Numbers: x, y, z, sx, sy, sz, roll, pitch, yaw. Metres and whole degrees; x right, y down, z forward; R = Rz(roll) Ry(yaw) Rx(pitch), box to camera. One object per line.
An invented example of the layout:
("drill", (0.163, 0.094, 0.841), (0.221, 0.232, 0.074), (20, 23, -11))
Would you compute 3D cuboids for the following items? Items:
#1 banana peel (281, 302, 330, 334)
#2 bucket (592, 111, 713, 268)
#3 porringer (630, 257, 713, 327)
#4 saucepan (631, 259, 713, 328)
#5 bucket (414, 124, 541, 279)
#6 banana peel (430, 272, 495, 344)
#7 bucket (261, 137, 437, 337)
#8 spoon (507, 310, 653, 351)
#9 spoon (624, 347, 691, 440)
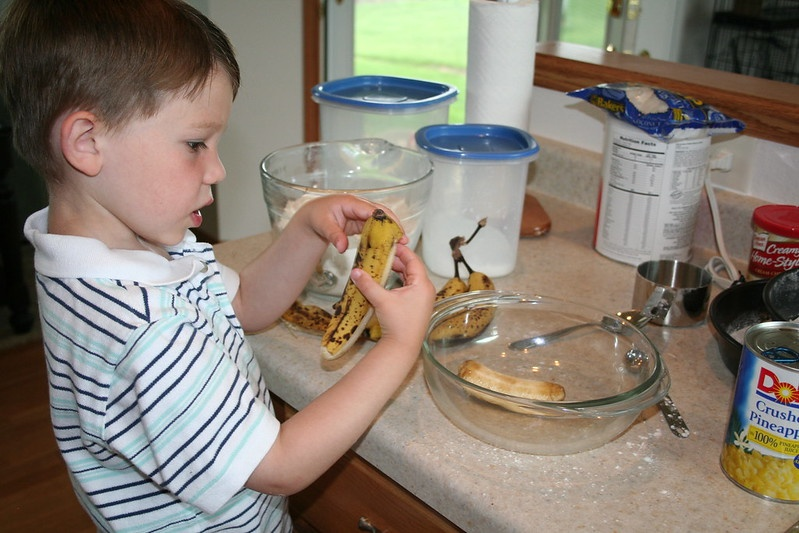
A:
("banana peel", (-0.162, 0.092, 1.233), (0.076, 0.018, 0.050), (22, 40, 28))
("bucket", (0.523, -0.182, 1.437), (0.201, 0.307, 0.209), (-3, 31, 2))
("porringer", (0.508, 0.050, 1.287), (0.133, 0.080, 0.132), (-11, 25, -17))
("saucepan", (0.507, 0.043, 1.300), (0.138, 0.083, 0.133), (-4, 22, -4))
("bucket", (0.099, -0.133, 1.478), (0.290, 0.305, 0.290), (1, 29, -1))
("banana peel", (0.113, 0.058, 1.234), (0.090, 0.053, 0.169), (32, -12, -6))
("bucket", (-0.107, -0.041, 1.389), (0.348, 0.294, 0.404), (10, 24, 22))
("spoon", (0.287, 0.109, 1.146), (0.169, 0.025, 0.038), (-9, 41, 3))
("spoon", (0.397, 0.191, 1.103), (0.054, 0.043, 0.160), (-16, 58, -27))
